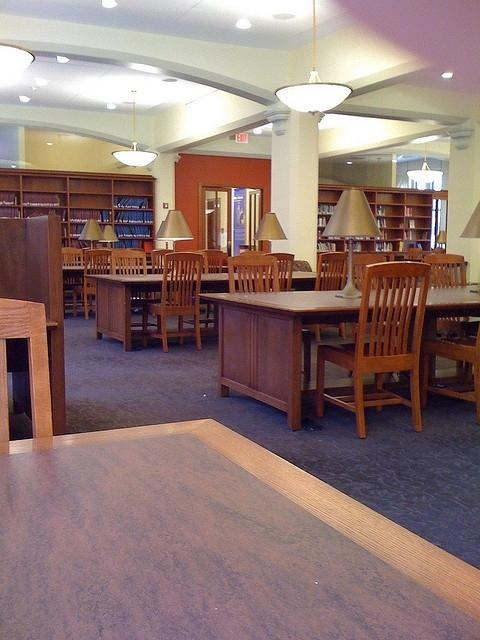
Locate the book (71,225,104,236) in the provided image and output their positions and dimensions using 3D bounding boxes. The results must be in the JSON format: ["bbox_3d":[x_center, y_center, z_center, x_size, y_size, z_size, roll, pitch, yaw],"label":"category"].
[{"bbox_3d":[-2.757,-1.685,8.962,0.398,0.231,0.280,1,0,-13],"label":"book"}]

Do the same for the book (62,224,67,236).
[{"bbox_3d":[-4.454,-2.315,12.236,0.182,0.344,0.086,1,0,40],"label":"book"}]

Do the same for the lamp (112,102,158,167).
[{"bbox_3d":[-2.427,-4.212,10.954,0.867,1.720,2.089,1,0,-15],"label":"lamp"}]

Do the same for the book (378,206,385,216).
[{"bbox_3d":[4.383,-3.438,14.971,0.235,0.307,0.145,-3,-2,-27],"label":"book"}]

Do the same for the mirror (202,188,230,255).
[{"bbox_3d":[-0.628,-2.928,13.770,0.396,1.420,1.024,1,0,44],"label":"mirror"}]

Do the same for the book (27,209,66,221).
[{"bbox_3d":[-4.827,-2.684,12.021,0.918,0.313,0.256,1,0,-20],"label":"book"}]
